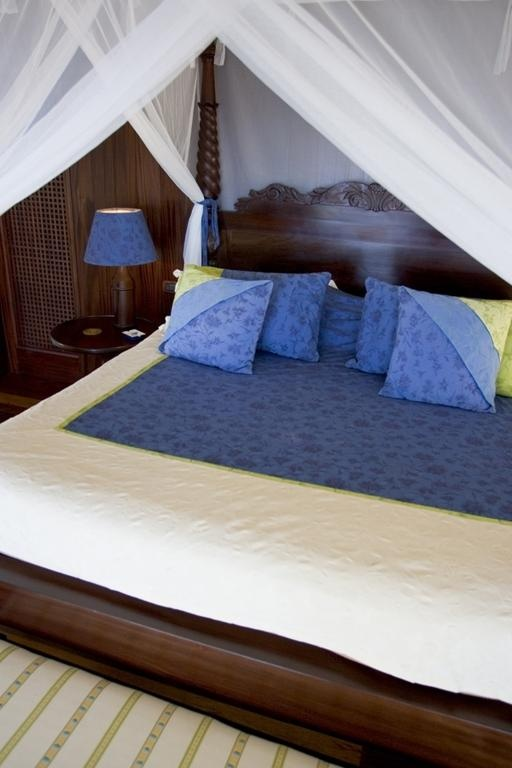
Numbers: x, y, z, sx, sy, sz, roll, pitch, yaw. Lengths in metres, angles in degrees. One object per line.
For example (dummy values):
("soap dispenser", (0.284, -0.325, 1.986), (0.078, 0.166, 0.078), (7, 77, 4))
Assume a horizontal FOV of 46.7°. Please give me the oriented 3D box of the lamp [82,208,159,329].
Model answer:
("lamp", (-0.673, -0.604, 3.024), (0.376, 0.380, 0.633), (26, -51, 34))
